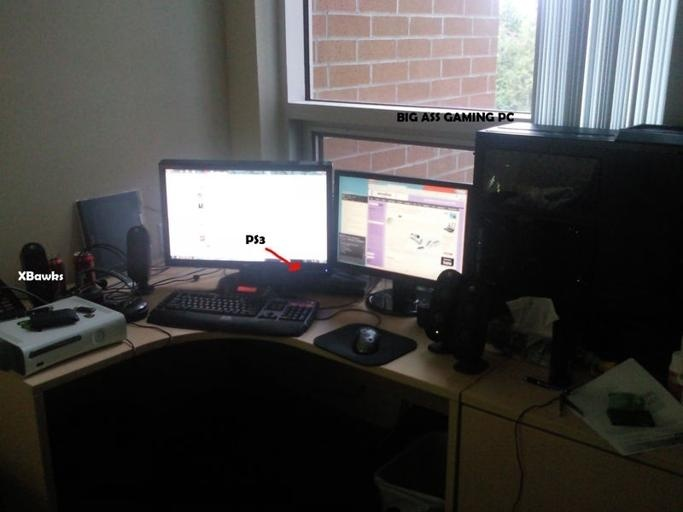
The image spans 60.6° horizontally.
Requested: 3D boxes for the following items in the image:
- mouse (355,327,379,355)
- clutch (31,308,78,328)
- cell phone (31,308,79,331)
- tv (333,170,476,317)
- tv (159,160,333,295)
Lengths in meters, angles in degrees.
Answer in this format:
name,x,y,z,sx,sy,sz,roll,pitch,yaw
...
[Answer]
name,x,y,z,sx,sy,sz,roll,pitch,yaw
mouse,0.089,0.283,1.968,0.053,0.026,0.091,-1,31,2
clutch,-0.971,0.207,1.953,0.090,0.027,0.076,-4,22,-32
cell phone,-0.969,0.207,1.955,0.097,0.029,0.080,-3,20,-31
tv,0.234,-0.045,2.143,0.457,0.437,0.201,12,23,29
tv,-0.362,-0.125,2.321,0.516,0.366,0.152,2,14,5
